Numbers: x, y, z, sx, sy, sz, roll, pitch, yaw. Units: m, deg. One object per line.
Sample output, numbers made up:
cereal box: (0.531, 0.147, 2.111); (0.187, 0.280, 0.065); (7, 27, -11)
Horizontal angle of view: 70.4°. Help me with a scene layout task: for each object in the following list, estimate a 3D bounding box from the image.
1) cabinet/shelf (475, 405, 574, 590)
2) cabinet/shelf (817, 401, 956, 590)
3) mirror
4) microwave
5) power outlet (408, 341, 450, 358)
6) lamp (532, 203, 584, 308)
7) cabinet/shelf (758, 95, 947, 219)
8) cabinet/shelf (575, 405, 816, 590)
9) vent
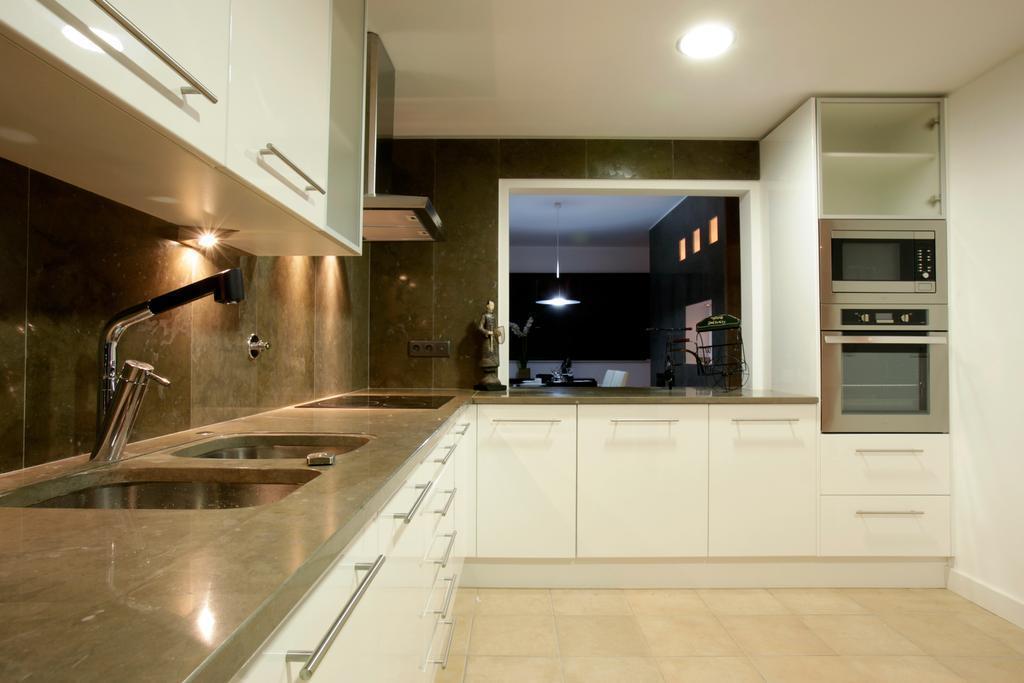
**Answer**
cabinet/shelf: (0.072, 0.746, 3.884); (0.683, 0.770, 0.621); (0, -3, 16)
cabinet/shelf: (1.902, 0.806, 3.882); (0.663, 0.771, 0.538); (-2, 9, 5)
mirror: (1.014, -0.482, 6.493); (1.967, 1.581, 0.190); (0, -5, 1)
microwave: (1.867, -0.411, 3.862); (0.638, 0.356, 0.354); (-2, 3, -8)
power outlet: (-0.485, 0.039, 4.197); (0.242, 0.092, 0.037); (1, 11, 7)
lamp: (0.524, -1.037, 8.867); (0.721, 1.321, 0.678); (-1, -2, -23)
cabinet/shelf: (1.796, -0.946, 3.903); (0.747, 0.496, 0.752); (-1, 11, 5)
cabinet/shelf: (0.870, 0.694, 3.987); (1.424, 0.801, 0.753); (3, -7, -19)
vent: (-0.544, -1.013, 3.559); (0.429, 0.745, 0.808); (2, -4, -1)
